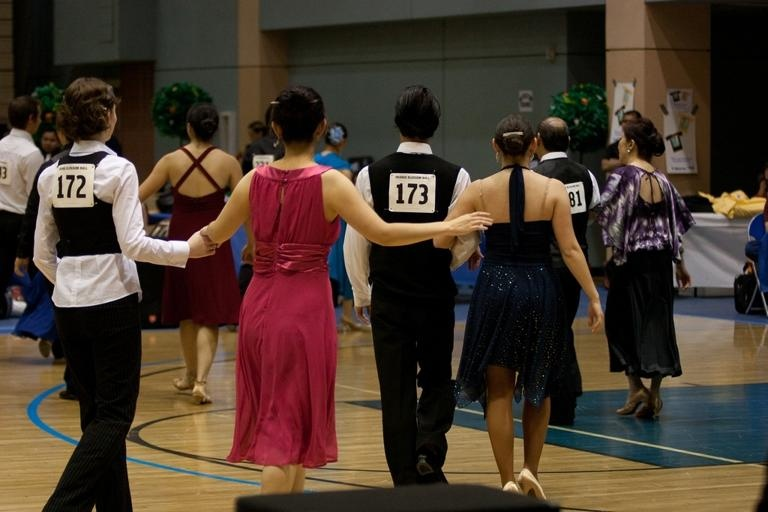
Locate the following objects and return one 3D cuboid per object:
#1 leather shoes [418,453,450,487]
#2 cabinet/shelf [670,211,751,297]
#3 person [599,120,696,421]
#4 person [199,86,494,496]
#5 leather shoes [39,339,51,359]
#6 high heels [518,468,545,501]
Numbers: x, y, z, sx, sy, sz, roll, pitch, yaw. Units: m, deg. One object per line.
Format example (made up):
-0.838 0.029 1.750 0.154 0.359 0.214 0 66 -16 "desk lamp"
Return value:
0.279 1.240 5.891 0.212 0.140 0.052 33 -6 -7 "leather shoes"
4.030 -0.049 12.377 0.966 1.202 0.269 5 17 8 "cabinet/shelf"
1.931 0.248 7.575 0.679 1.887 0.355 1 2 10 "person"
-0.452 0.169 5.350 1.158 2.055 0.307 0 2 -5 "person"
-3.089 0.825 9.318 0.109 0.210 0.065 -13 17 -28 "leather shoes"
0.874 1.321 6.018 0.164 0.190 0.338 1 3 9 "high heels"
